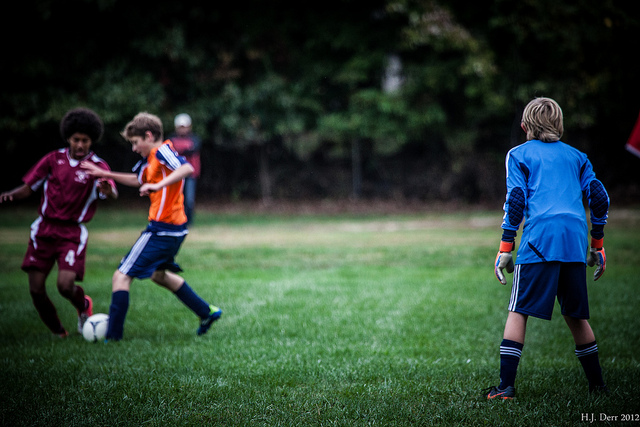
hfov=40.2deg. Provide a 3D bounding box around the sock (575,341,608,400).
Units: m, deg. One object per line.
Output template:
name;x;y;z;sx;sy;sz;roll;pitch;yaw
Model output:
sock;3.696;2.141;12.033;0.277;0.738;0.532;-12;-8;3

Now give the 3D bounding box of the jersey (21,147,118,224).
jersey;-3.683;-0.394;12.712;1.094;1.065;0.228;1;3;6

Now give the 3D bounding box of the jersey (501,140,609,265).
jersey;3.170;-0.120;11.913;1.301;1.837;0.697;-1;-18;8

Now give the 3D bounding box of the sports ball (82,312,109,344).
sports ball;-3.265;1.702;12.933;0.382;0.411;0.379;-4;-24;-2
